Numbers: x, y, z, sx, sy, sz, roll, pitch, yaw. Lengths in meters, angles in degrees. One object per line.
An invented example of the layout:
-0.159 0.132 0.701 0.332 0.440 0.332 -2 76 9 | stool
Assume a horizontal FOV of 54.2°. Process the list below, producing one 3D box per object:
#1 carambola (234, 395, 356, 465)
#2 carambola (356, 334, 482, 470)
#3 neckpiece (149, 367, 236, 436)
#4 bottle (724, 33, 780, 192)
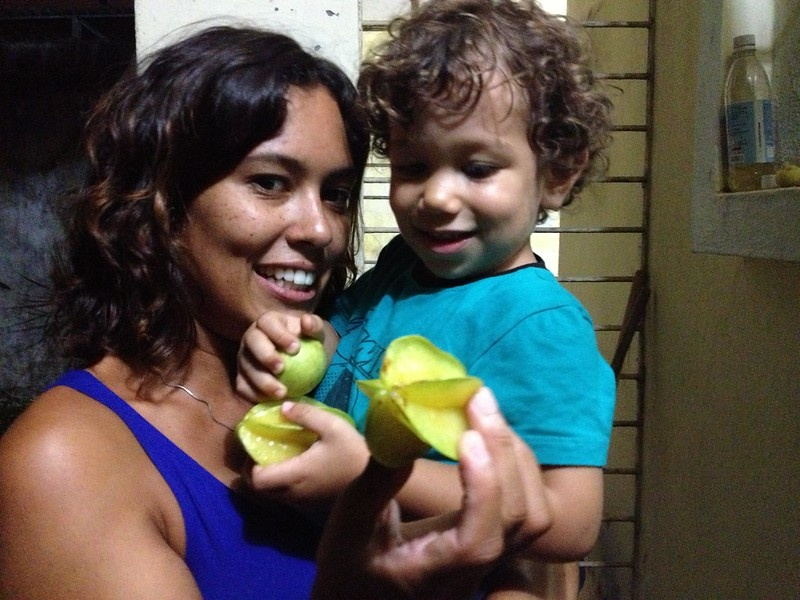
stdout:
-0.208 0.262 1.548 0.186 0.133 0.068 -9 -39 12 | carambola
0.035 0.167 1.231 0.131 0.209 0.172 5 9 36 | carambola
-0.434 0.229 1.761 0.265 0.029 0.061 41 -35 -22 | neckpiece
0.960 -0.519 2.162 0.078 0.429 0.226 -2 8 -13 | bottle
